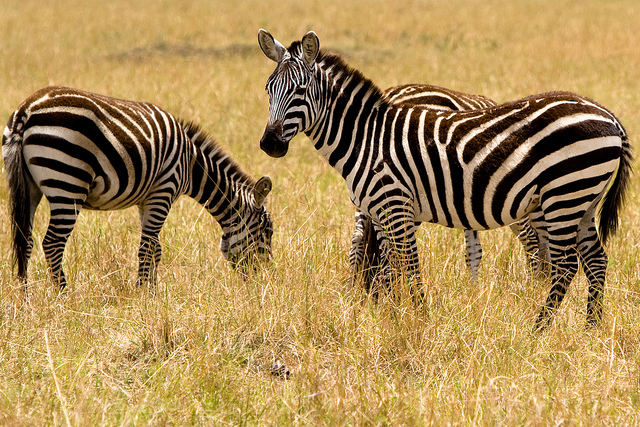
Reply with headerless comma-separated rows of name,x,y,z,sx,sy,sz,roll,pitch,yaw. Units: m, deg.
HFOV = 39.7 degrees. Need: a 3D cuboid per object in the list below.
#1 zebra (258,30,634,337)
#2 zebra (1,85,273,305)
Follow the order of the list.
zebra,1.421,-0.266,10.081,4.420,3.443,1.342,2,10,10
zebra,-2.089,-0.338,9.821,2.715,1.871,1.386,-9,44,-18
